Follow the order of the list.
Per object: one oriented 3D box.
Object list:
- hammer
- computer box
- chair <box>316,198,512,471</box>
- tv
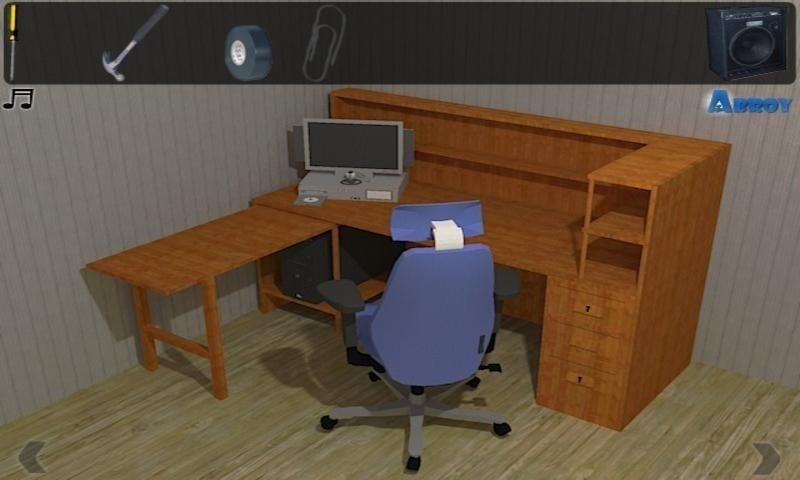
[{"bbox_3d":[-1.800,-1.368,3.825,0.100,0.499,0.522,19,29,33],"label":"hammer"},{"bbox_3d":[-0.725,0.214,4.420,0.319,0.559,0.367,2,-2,6],"label":"computer box"},{"bbox_3d":[0.137,0.579,3.275,1.146,1.653,0.547,5,26,10],"label":"chair"},{"bbox_3d":[-0.370,-0.755,4.501,0.923,0.432,0.088,7,17,25],"label":"tv"}]
